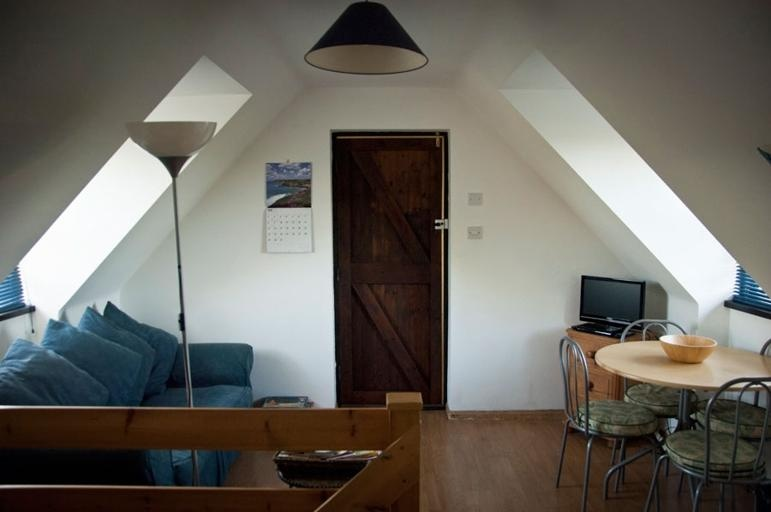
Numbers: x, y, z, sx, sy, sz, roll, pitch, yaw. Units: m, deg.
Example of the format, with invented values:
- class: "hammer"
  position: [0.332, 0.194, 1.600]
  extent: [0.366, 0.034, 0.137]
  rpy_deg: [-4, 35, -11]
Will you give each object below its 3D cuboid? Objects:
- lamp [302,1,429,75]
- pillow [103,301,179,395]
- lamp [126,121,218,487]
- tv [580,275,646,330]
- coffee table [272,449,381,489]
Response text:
- class: "lamp"
  position: [-0.102, -1.121, 3.213]
  extent: [0.614, 0.365, 0.313]
  rpy_deg: [-2, 13, -7]
- class: "pillow"
  position: [-1.757, 0.697, 4.820]
  extent: [0.229, 0.630, 0.617]
  rpy_deg: [-25, 46, -38]
- class: "lamp"
  position: [-1.256, 0.289, 3.989]
  extent: [0.465, 2.237, 1.756]
  rpy_deg: [-5, 13, -17]
- class: "tv"
  position: [1.826, 0.373, 5.078]
  extent: [0.507, 0.391, 0.058]
  rpy_deg: [6, 7, 40]
- class: "coffee table"
  position: [-0.357, 1.179, 3.506]
  extent: [0.510, 0.166, 0.153]
  rpy_deg: [1, 13, 9]
